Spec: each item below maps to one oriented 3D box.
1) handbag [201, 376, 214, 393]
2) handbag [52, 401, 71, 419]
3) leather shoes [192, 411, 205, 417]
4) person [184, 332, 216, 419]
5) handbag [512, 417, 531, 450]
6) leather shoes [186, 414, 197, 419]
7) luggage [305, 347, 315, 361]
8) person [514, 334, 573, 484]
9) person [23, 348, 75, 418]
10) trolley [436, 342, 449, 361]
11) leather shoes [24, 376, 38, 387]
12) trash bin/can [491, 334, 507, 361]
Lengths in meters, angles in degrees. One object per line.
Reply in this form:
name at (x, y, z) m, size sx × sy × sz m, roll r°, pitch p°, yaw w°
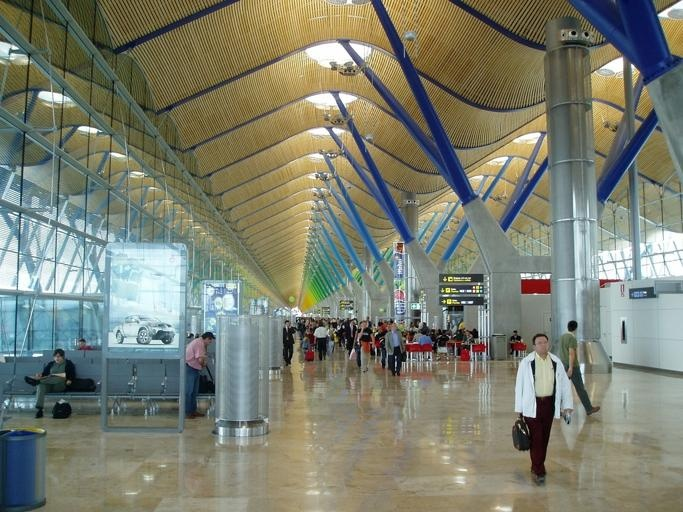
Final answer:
handbag at (-3.162, 3.007, 13.175) m, size 0.387 × 0.425 × 0.242 m, roll 3°, pitch -13°, yaw 0°
handbag at (-5.982, 3.259, 12.010) m, size 0.367 × 0.415 × 0.277 m, roll 5°, pitch -12°, yaw -11°
leather shoes at (-3.091, 3.370, 12.127) m, size 0.214 × 0.098 × 0.085 m, roll -1°, pitch -4°, yaw 0°
person at (-3.157, 2.569, 12.402) m, size 0.537 × 1.787 × 1.567 m, roll 0°, pitch -10°, yaw -14°
handbag at (2.295, 2.267, 7.234) m, size 0.201 × 0.430 × 0.280 m, roll -5°, pitch -9°, yaw 17°
leather shoes at (-3.206, 3.370, 11.945) m, size 0.192 × 0.067 × 0.208 m, roll 1°, pitch -10°, yaw -17°
luggage at (-1.696, 5.050, 29.592) m, size 0.625 × 0.923 × 0.481 m, roll 0°, pitch -22°, yaw 1°
person at (2.634, 1.948, 7.362) m, size 0.716 × 1.864 × 0.476 m, roll -3°, pitch -9°, yaw 10°
person at (-6.448, 2.762, 12.485) m, size 0.936 × 1.432 × 0.972 m, roll 2°, pitch -10°, yaw -24°
trolley at (5.062, 4.844, 28.744) m, size 0.720 × 1.057 × 0.869 m, roll -2°, pitch -14°, yaw 7°
leather shoes at (-6.934, 2.772, 12.591) m, size 0.224 × 0.122 × 0.251 m, roll 9°, pitch -27°, yaw 5°
trash bin/can at (7.361, 4.206, 26.535) m, size 0.826 × 1.238 × 0.404 m, roll -4°, pitch -9°, yaw 13°
